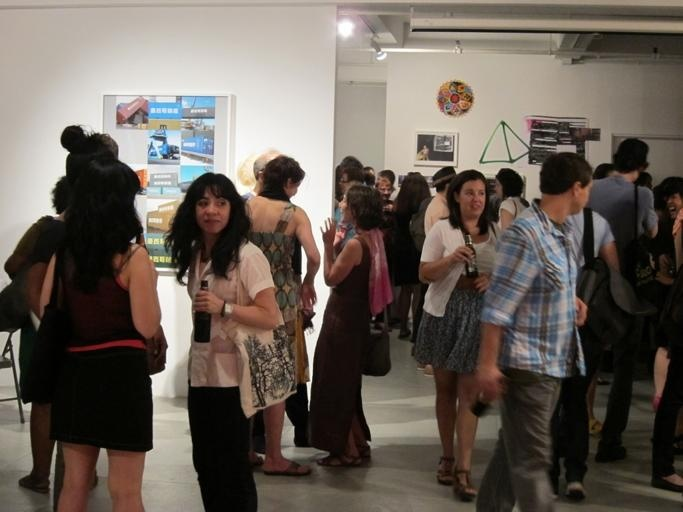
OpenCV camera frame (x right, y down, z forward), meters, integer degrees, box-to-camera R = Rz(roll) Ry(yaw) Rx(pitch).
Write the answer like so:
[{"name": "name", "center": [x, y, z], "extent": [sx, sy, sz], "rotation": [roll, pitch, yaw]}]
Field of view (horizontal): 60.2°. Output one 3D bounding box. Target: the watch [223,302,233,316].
[{"name": "watch", "center": [-0.526, 0.248, 2.727], "extent": [0.014, 0.053, 0.054], "rotation": [8, 5, -3]}]

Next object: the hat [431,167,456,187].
[{"name": "hat", "center": [0.965, -0.746, 5.483], "extent": [0.193, 0.106, 0.248], "rotation": [-26, -2, 31]}]

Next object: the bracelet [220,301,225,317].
[{"name": "bracelet", "center": [-0.546, 0.251, 2.726], "extent": [0.013, 0.048, 0.049], "rotation": [11, 8, -2]}]

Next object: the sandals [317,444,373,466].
[{"name": "sandals", "center": [0.045, 1.448, 4.264], "extent": [0.324, 0.105, 0.139], "rotation": [13, -18, -30]}]

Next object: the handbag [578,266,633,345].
[{"name": "handbag", "center": [1.704, 0.336, 3.828], "extent": [0.190, 0.459, 0.380], "rotation": [-12, 21, 41]}]

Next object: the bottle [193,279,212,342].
[{"name": "bottle", "center": [-0.649, 0.329, 2.752], "extent": [0.080, 0.157, 0.083], "rotation": [1, 3, 0]}]

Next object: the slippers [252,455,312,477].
[{"name": "slippers", "center": [-0.420, 1.463, 4.083], "extent": [0.431, 0.166, 0.155], "rotation": [0, -2, 0]}]
